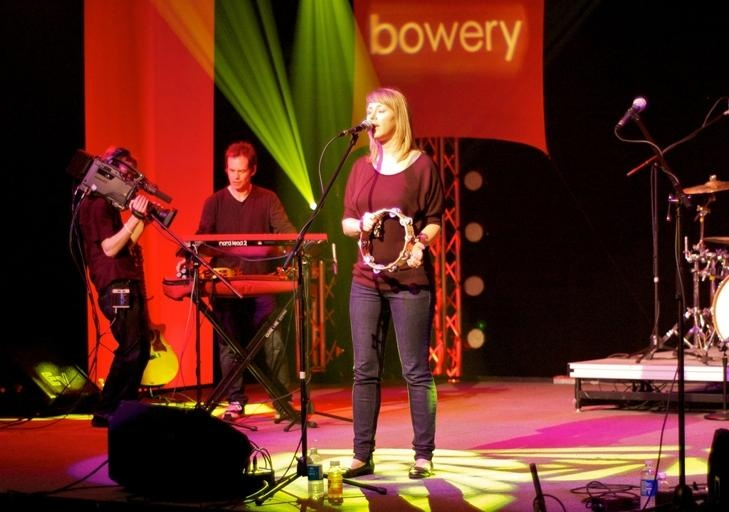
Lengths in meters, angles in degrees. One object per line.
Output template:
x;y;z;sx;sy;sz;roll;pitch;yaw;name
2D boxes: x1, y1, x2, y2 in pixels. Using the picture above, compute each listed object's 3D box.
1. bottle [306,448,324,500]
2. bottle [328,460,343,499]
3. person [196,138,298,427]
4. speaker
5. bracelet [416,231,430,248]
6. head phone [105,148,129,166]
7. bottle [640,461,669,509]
-0.330;1.537;4.922;0.114;0.301;0.227;0;1;-4;bottle
-0.201;1.564;4.878;0.108;0.251;0.236;0;1;-3;bottle
-1.203;0.386;7.267;0.972;3.027;0.898;0;23;-9;person
-1.380;1.312;5.093;0.812;0.607;0.641;-1;2;5;speaker
0.411;-0.100;5.041;0.097;0.099;0.081;6;-17;-36;bracelet
-2.246;-0.918;6.435;0.178;0.153;0.177;-10;-2;24;head phone
1.928;1.579;4.768;0.166;0.436;0.162;1;-5;0;bottle
